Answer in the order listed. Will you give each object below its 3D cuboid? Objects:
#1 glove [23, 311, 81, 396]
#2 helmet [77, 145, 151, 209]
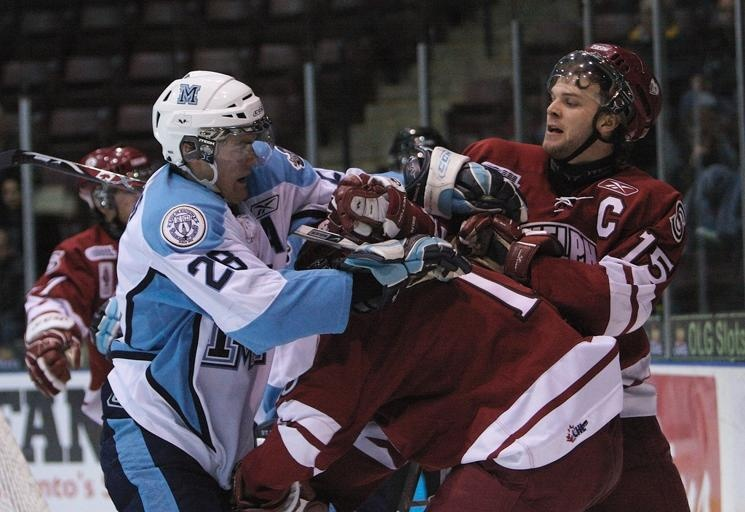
[{"bbox_3d":[-2.030,0.618,9.496,0.330,0.489,0.518,0,-1,-12],"label":"glove"},{"bbox_3d":[-1.748,-0.528,10.626,0.544,0.476,0.442,-7,4,41],"label":"helmet"}]
